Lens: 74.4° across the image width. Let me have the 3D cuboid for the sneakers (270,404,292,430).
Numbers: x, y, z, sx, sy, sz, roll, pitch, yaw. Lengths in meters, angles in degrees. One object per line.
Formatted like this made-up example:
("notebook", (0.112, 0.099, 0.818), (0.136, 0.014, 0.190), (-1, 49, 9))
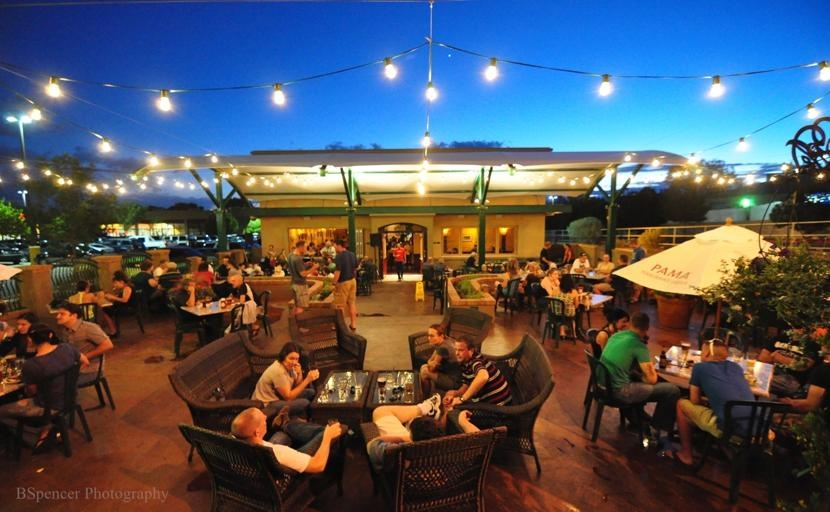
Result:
("sneakers", (-2.403, 2.860, 9.960), (0.204, 0.572, 0.250), (42, -37, -24))

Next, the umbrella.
("umbrella", (5.977, 0.185, 11.641), (2.122, 1.220, 2.084), (-4, 3, -26))

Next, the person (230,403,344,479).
("person", (-2.157, 3.192, 9.382), (1.805, 1.263, 0.555), (-1, 4, -25))

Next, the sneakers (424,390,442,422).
("sneakers", (0.320, 2.801, 10.202), (0.199, 0.546, 0.254), (-11, -22, 42))

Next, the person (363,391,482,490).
("person", (0.002, 3.139, 9.765), (1.906, 1.040, 1.178), (-2, 3, -35))

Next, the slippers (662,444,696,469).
("slippers", (4.969, 3.868, 10.409), (0.253, 0.182, 0.630), (-36, 38, -22))

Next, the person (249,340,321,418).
("person", (-2.794, 2.320, 10.809), (1.646, 1.790, 1.076), (0, 10, -3))
